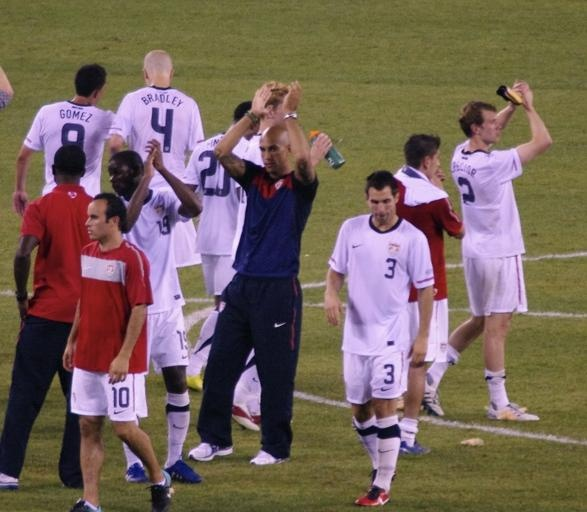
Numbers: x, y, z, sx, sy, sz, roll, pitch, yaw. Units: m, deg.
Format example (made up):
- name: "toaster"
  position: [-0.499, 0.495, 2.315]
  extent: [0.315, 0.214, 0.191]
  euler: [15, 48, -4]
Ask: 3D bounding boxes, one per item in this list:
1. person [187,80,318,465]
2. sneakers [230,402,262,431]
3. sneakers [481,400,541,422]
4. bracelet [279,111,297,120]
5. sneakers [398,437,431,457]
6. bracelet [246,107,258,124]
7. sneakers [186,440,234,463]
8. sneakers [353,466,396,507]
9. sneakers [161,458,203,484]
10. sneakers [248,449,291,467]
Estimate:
- name: "person"
  position: [-0.291, 0.167, 13.392]
  extent: [0.944, 3.267, 0.381]
  euler: [2, 5, 2]
- name: "sneakers"
  position: [-0.427, 1.497, 14.461]
  extent: [0.423, 0.167, 0.146]
  euler: [26, 21, 39]
- name: "sneakers"
  position: [2.048, 1.474, 14.712]
  extent: [0.522, 0.187, 0.180]
  euler: [1, 0, 5]
- name: "bracelet"
  position: [-0.048, -1.206, 13.476]
  extent: [0.127, 0.091, 0.166]
  euler: [1, 4, -1]
- name: "sneakers"
  position: [1.043, 1.714, 13.646]
  extent: [0.310, 0.134, 0.103]
  euler: [0, 2, -12]
- name: "bracelet"
  position: [-0.332, -1.185, 13.381]
  extent: [0.037, 0.101, 0.091]
  euler: [-37, 3, 0]
- name: "sneakers"
  position: [-0.729, 1.715, 13.572]
  extent: [0.406, 0.169, 0.147]
  euler: [2, 1, -33]
- name: "sneakers"
  position: [0.650, 1.904, 12.692]
  extent: [0.237, 0.258, 0.308]
  euler: [4, 5, 29]
- name: "sneakers"
  position: [-0.917, 1.813, 13.100]
  extent: [0.362, 0.153, 0.133]
  euler: [10, 21, 35]
- name: "sneakers"
  position: [-0.179, 1.758, 13.414]
  extent: [0.294, 0.113, 0.113]
  euler: [5, -4, -12]
